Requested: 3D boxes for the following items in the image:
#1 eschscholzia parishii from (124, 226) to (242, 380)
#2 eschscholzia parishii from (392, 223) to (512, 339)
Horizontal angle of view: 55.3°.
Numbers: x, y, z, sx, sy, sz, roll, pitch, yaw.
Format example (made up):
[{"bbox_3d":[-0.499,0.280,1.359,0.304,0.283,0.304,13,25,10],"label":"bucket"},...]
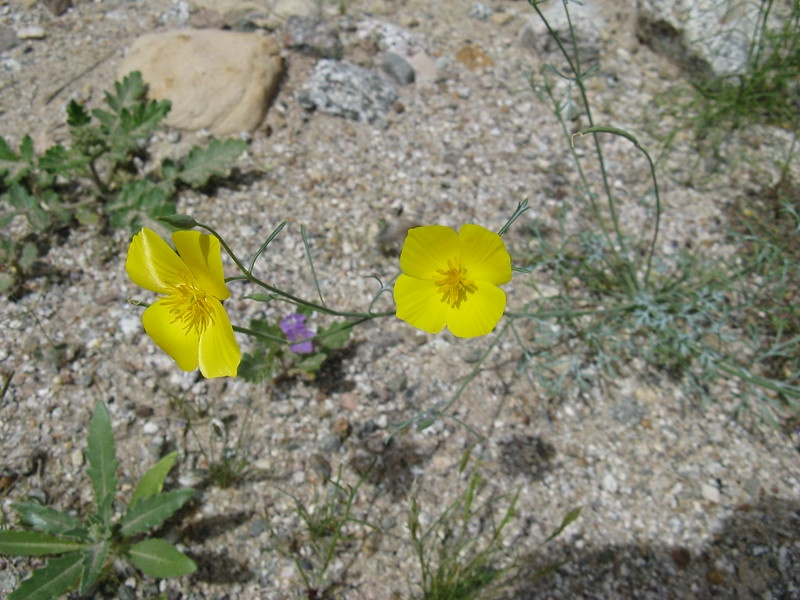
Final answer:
[{"bbox_3d":[-0.973,0.011,3.416,0.553,0.350,0.608,4,80,3],"label":"eschscholzia parishii"},{"bbox_3d":[0.245,-0.099,3.564,0.517,0.263,0.491,13,81,4],"label":"eschscholzia parishii"}]
